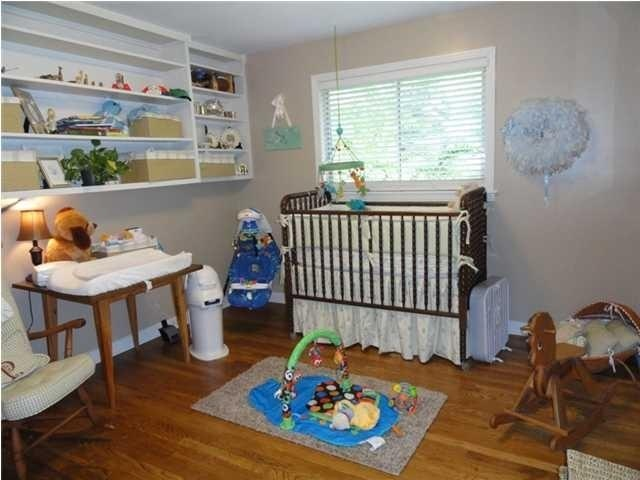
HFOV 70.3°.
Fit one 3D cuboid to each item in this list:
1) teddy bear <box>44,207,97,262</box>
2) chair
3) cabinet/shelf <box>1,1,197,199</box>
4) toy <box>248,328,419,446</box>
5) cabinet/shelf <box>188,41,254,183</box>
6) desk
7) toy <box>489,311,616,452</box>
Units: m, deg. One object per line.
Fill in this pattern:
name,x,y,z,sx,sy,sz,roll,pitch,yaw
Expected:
teddy bear,-1.887,-0.060,3.534,0.402,0.497,0.395,-8,15,-34
chair,-1.788,0.839,2.912,0.567,1.004,0.839,-11,14,-30
cabinet/shelf,-1.786,-1.111,3.559,0.473,1.224,1.478,4,8,29
toy,0.034,0.827,3.045,0.934,0.380,0.733,12,17,41
cabinet/shelf,-1.082,-1.237,4.602,0.385,1.317,0.871,1,13,20
desk,-1.585,0.748,3.697,0.953,0.954,1.165,1,6,30
toy,1.483,0.781,2.823,0.890,0.807,0.386,-12,15,-36
